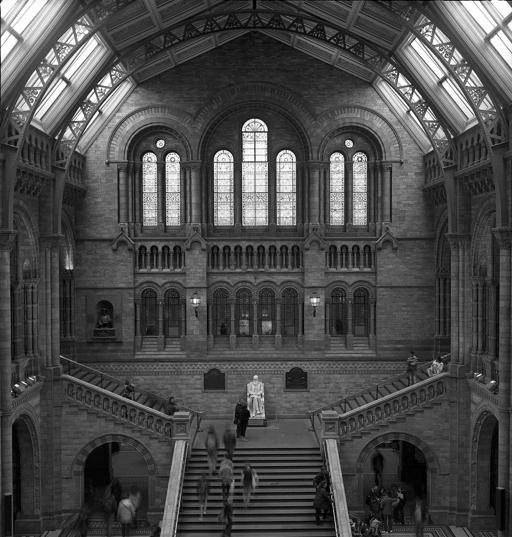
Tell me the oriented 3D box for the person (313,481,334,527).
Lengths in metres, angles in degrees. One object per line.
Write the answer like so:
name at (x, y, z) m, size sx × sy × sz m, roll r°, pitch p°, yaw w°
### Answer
person at (2.204, 8.021, 35.620) m, size 0.652 × 1.387 × 0.926 m, roll 1°, pitch -8°, yaw 4°

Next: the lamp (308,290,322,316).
lamp at (2.382, 1.523, 43.796) m, size 0.459 × 1.068 × 0.739 m, roll 1°, pitch -8°, yaw 3°

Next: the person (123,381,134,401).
person at (-4.972, 4.902, 41.249) m, size 0.360 × 0.591 × 0.881 m, roll 8°, pitch -44°, yaw 7°

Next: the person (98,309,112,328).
person at (-6.306, 2.188, 43.992) m, size 0.624 × 0.933 × 0.320 m, roll -2°, pitch -16°, yaw -2°

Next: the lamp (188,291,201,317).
lamp at (-2.517, 1.545, 43.601) m, size 0.485 × 1.082 × 0.830 m, roll 2°, pitch -8°, yaw -6°

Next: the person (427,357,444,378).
person at (6.836, 3.879, 40.565) m, size 0.478 × 0.742 × 1.257 m, roll 2°, pitch -8°, yaw -8°
